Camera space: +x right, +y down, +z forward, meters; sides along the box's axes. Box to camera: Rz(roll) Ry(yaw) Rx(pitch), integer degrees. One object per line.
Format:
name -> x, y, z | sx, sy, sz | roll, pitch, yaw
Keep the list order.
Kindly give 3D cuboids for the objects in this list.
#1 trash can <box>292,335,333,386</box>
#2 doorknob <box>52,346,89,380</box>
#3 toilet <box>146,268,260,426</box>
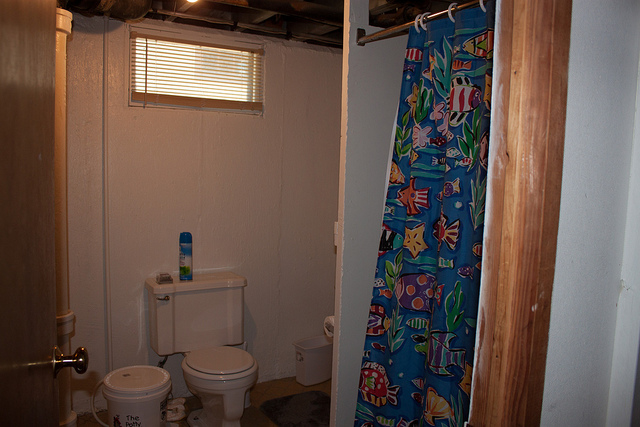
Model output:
trash can -> -0.035, 0.998, 3.824 | 0.341, 0.344, 0.286 | -1, 4, -38
doorknob -> -0.745, 0.435, 1.622 | 0.121, 0.075, 0.078 | 0, 6, -16
toilet -> -0.699, 0.758, 3.378 | 0.672, 0.887, 0.889 | -3, 3, -27
